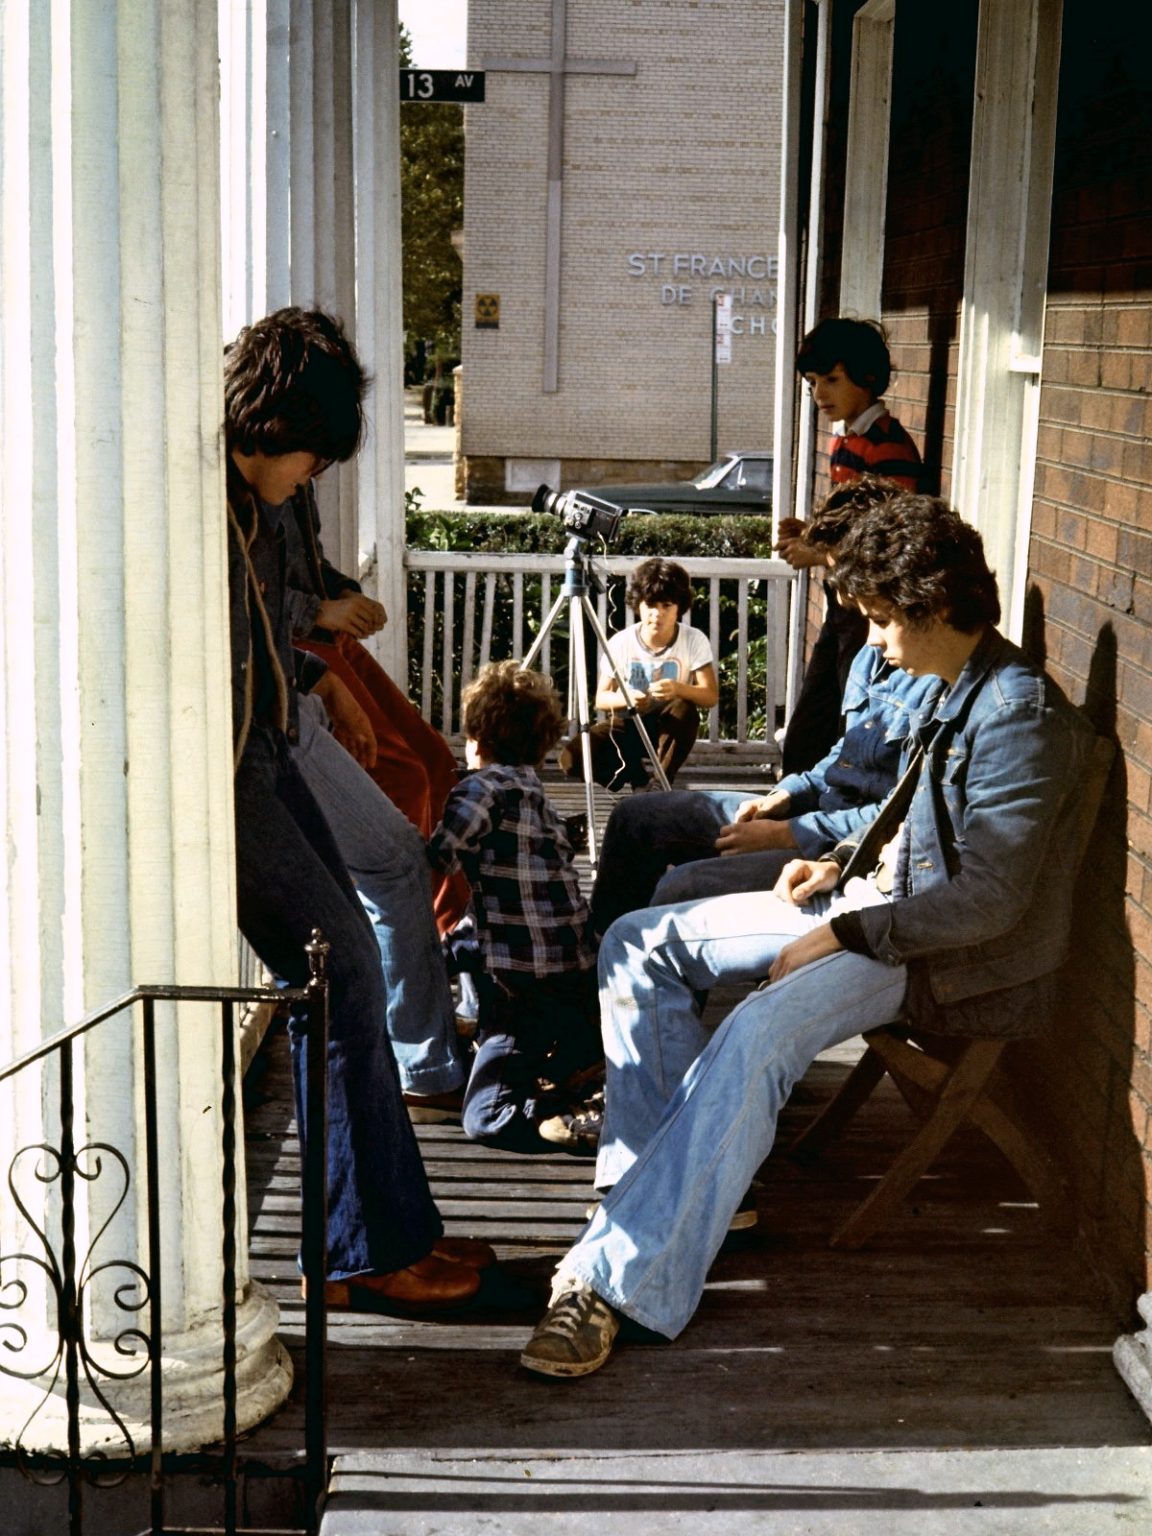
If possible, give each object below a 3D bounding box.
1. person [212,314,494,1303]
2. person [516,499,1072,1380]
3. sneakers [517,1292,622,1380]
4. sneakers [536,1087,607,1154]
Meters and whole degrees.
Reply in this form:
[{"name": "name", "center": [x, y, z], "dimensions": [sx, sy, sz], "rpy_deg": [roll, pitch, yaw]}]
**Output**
[{"name": "person", "center": [-0.403, 0.091, 3.356], "dimensions": [0.440, 1.659, 0.599], "rpy_deg": [-4, 13, -24]}, {"name": "person", "center": [0.375, 0.223, 3.568], "dimensions": [0.959, 1.370, 0.797], "rpy_deg": [-2, 12, -15]}, {"name": "sneakers", "center": [-0.010, 0.922, 3.240], "dimensions": [0.120, 0.106, 0.194], "rpy_deg": [5, 12, 16]}, {"name": "sneakers", "center": [-0.008, 0.764, 4.225], "dimensions": [0.152, 0.051, 0.104], "rpy_deg": [2, 18, 6]}]
